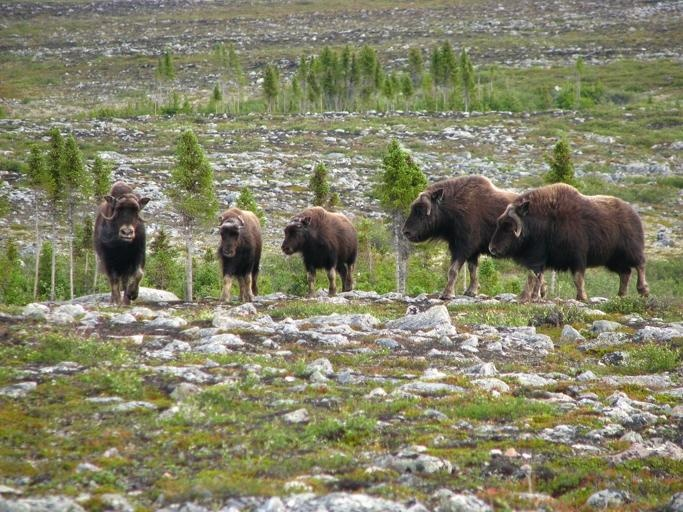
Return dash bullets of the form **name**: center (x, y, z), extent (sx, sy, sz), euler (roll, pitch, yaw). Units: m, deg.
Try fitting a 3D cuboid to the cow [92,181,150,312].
- **cow**: center (-20.378, -1.071, 104.226), extent (4.377, 11.139, 2.131), euler (-1, 6, 10)
